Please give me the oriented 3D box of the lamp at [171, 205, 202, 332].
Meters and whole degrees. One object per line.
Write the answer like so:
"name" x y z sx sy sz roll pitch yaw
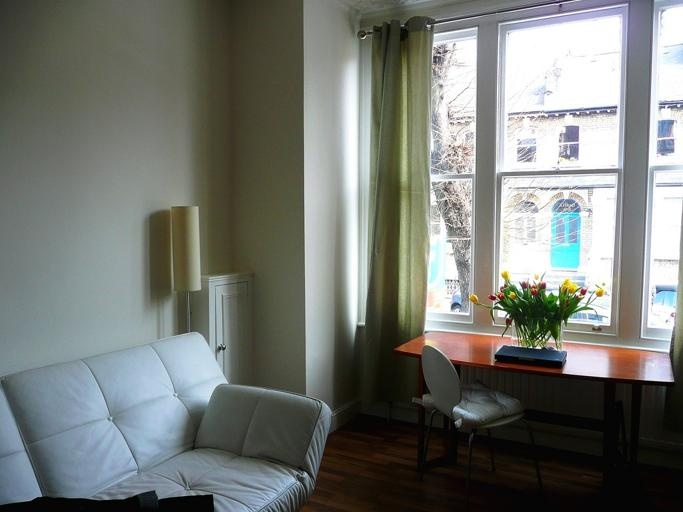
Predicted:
"lamp" -1.002 -0.048 3.471 0.175 0.534 0.113 -4 10 -19

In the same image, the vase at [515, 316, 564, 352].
"vase" 1.278 0.506 3.503 0.314 0.228 0.179 0 4 27

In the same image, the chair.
"chair" 0.911 1.017 3.485 0.718 0.964 0.696 -9 13 -41

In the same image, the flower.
"flower" 1.326 0.340 3.630 0.682 0.520 0.589 1 1 45
